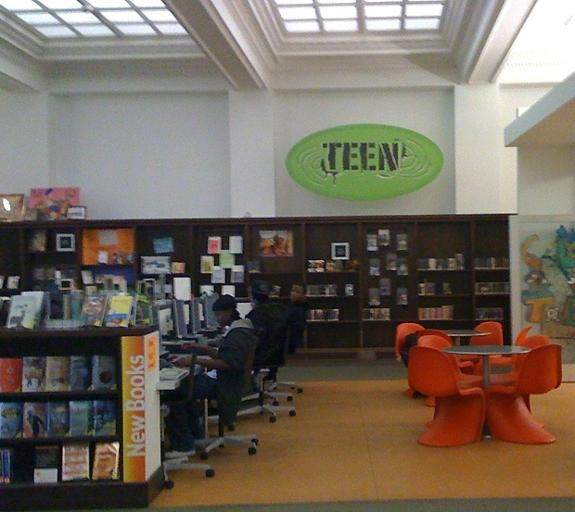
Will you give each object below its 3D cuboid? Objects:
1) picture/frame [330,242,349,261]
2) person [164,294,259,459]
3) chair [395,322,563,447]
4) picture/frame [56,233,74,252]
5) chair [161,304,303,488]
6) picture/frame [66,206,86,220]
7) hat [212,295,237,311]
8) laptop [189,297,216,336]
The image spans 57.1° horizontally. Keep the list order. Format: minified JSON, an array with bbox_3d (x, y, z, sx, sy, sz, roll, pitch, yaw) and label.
[{"bbox_3d":[0.932,-0.094,9.183,0.388,0.317,0.039,1,0,-1],"label":"picture/frame"},{"bbox_3d":[-0.665,1.079,4.794,0.971,1.387,0.784,0,-12,2],"label":"person"},{"bbox_3d":[1.804,1.124,5.100,1.385,0.701,1.091,-1,-3,4],"label":"chair"},{"bbox_3d":[-3.775,-0.241,9.115,0.358,0.293,0.047,-1,-5,-7],"label":"picture/frame"},{"bbox_3d":[-0.651,1.086,4.729,0.839,1.546,1.248,-2,0,-1],"label":"chair"},{"bbox_3d":[-3.694,-0.780,9.362,0.481,0.217,0.306,1,-1,-3],"label":"picture/frame"},{"bbox_3d":[-0.589,0.451,5.198,0.212,0.114,0.153,-13,10,-31],"label":"hat"},{"bbox_3d":[-1.040,0.730,6.663,0.371,0.415,0.401,1,-11,-30],"label":"laptop"}]
